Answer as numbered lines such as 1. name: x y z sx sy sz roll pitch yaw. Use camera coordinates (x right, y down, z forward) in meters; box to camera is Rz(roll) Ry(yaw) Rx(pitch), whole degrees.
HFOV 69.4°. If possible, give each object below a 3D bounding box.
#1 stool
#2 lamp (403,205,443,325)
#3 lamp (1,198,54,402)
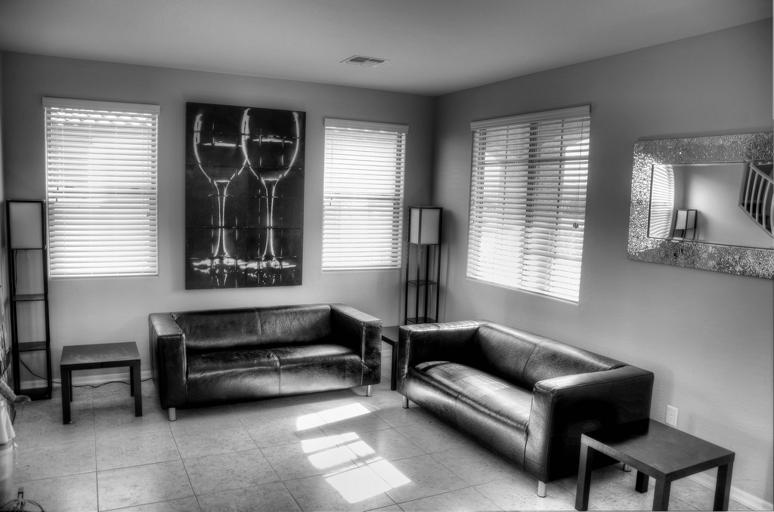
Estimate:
1. stool: -2.798 1.165 5.468 0.768 0.557 0.778 -1 1 -25
2. lamp: 0.468 0.119 7.135 0.485 1.504 0.568 2 15 2
3. lamp: -3.620 0.444 5.629 0.475 1.963 0.604 -7 17 -29
